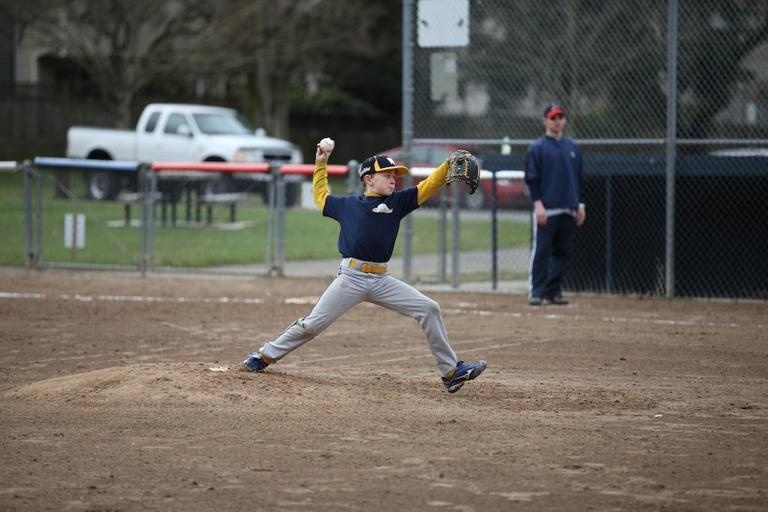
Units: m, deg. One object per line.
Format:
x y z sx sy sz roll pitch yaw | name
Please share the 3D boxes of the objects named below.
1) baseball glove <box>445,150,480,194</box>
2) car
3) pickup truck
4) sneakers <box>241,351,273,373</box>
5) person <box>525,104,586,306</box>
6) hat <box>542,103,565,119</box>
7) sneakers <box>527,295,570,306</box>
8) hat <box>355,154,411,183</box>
0.865 -1.016 17.172 0.347 0.455 0.451 13 -6 -36 | baseball glove
1.453 -1.462 26.743 2.663 0.944 1.241 0 5 11 | car
-3.694 -1.715 26.413 3.640 1.594 2.157 0 5 9 | pickup truck
-1.500 1.256 17.205 0.428 0.190 0.165 2 3 22 | sneakers
2.206 -0.673 19.404 0.771 2.662 0.528 1 2 6 | person
2.199 -1.923 19.400 0.250 0.206 0.334 1 3 5 | hat
2.172 0.590 19.716 0.540 0.240 0.184 -1 3 1 | sneakers
-0.056 -1.017 16.889 0.421 0.241 0.305 -4 4 9 | hat
